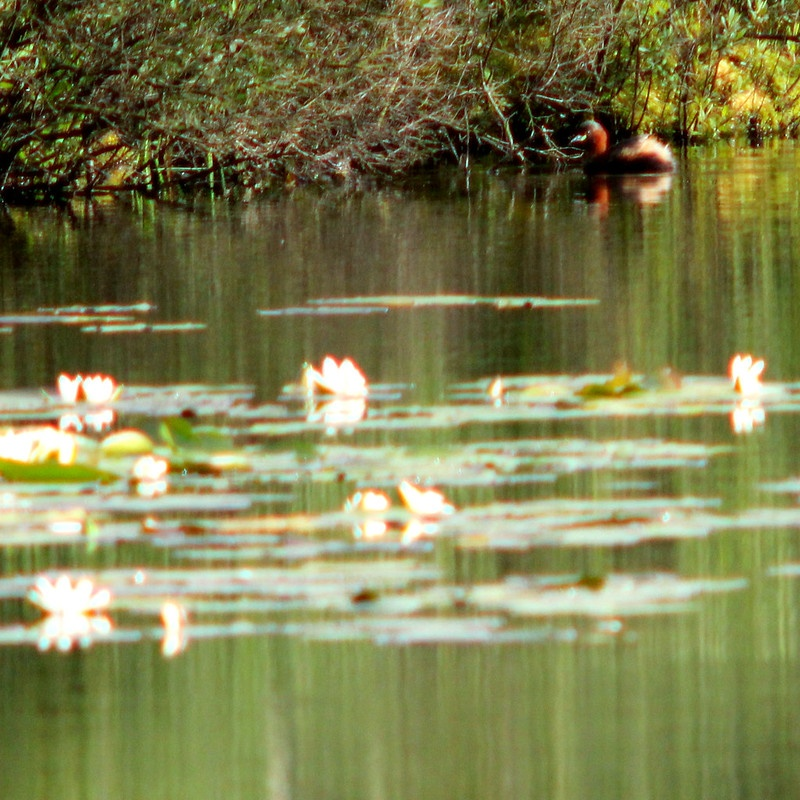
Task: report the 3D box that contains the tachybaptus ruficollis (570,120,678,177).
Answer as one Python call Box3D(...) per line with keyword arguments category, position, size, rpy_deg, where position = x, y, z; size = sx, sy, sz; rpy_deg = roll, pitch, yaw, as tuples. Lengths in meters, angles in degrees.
Box3D(category="tachybaptus ruficollis", position=(1.377, -1.645, 16.174), size=(0.542, 0.622, 0.431), rpy_deg=(-16, 104, -1))
